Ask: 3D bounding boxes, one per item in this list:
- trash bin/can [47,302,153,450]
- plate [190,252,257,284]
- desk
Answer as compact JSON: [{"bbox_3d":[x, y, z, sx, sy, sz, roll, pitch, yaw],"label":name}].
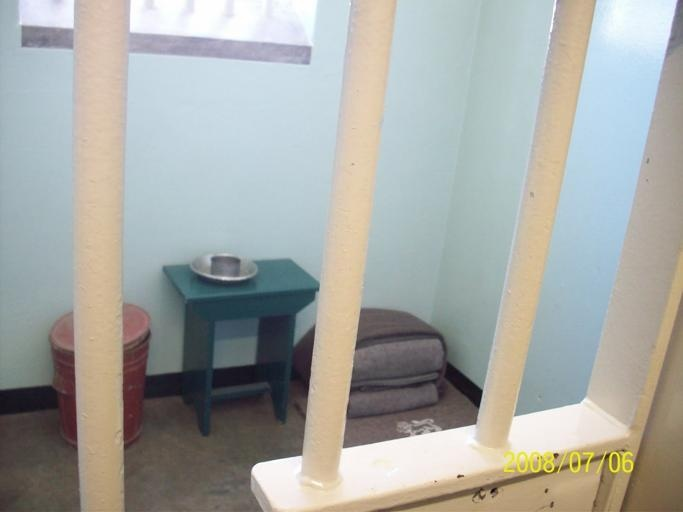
[{"bbox_3d":[-1.170,0.638,2.787,0.464,0.674,0.560,-5,22,-17],"label":"trash bin/can"},{"bbox_3d":[-0.633,0.051,3.054,0.352,0.140,0.413,-2,21,-9],"label":"plate"},{"bbox_3d":[-0.581,0.510,3.215,0.813,0.816,0.556,-4,17,-37],"label":"desk"}]
